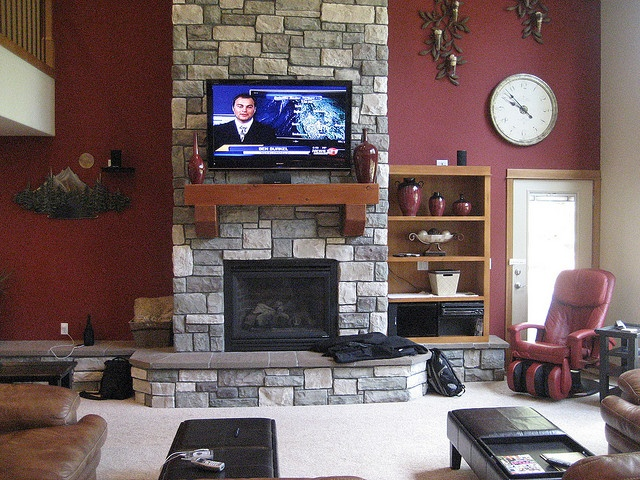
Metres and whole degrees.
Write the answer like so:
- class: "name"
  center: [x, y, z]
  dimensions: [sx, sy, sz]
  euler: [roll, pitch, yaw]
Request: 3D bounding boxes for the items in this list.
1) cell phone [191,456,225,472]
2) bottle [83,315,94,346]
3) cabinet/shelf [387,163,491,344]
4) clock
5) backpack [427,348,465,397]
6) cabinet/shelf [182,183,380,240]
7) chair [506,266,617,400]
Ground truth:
- class: "cell phone"
  center: [-0.804, 1.589, 4.332]
  dimensions: [0.184, 0.042, 0.091]
  euler: [6, 7, 5]
- class: "bottle"
  center: [-2.588, 1.002, 6.822]
  dimensions: [0.119, 0.320, 0.287]
  euler: [-1, 2, -21]
- class: "cabinet/shelf"
  center: [1.342, 0.139, 6.889]
  dimensions: [1.176, 1.971, 0.588]
  euler: [0, 2, 7]
- class: "clock"
  center: [2.345, -1.517, 7.120]
  dimensions: [0.841, 0.807, 0.086]
  euler: [-2, 6, -18]
- class: "backpack"
  center: [1.293, 1.406, 6.418]
  dimensions: [0.211, 0.392, 0.346]
  euler: [-20, -15, -10]
- class: "cabinet/shelf"
  center: [-0.402, -0.319, 6.435]
  dimensions: [1.963, 0.541, 0.496]
  euler: [0, 4, 3]
- class: "chair"
  center: [2.511, 0.977, 6.424]
  dimensions: [1.194, 1.228, 0.826]
  euler: [-3, 4, -45]
